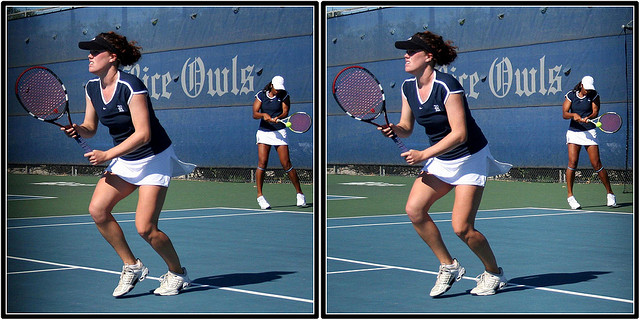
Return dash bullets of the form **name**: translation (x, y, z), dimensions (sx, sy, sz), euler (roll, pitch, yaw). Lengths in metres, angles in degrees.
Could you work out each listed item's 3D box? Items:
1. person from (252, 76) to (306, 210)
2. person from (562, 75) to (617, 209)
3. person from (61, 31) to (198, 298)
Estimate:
- **person**: translation (-1.037, -0.408, 11.293), dimensions (1.048, 3.159, 0.957), euler (-1, 6, -6)
- **person**: translation (6.125, -0.421, 11.090), dimensions (1.167, 3.049, 0.783), euler (-1, 6, -5)
- **person**: translation (-2.389, 0.034, 5.928), dimensions (1.206, 3.303, 0.889), euler (-3, 6, -26)
